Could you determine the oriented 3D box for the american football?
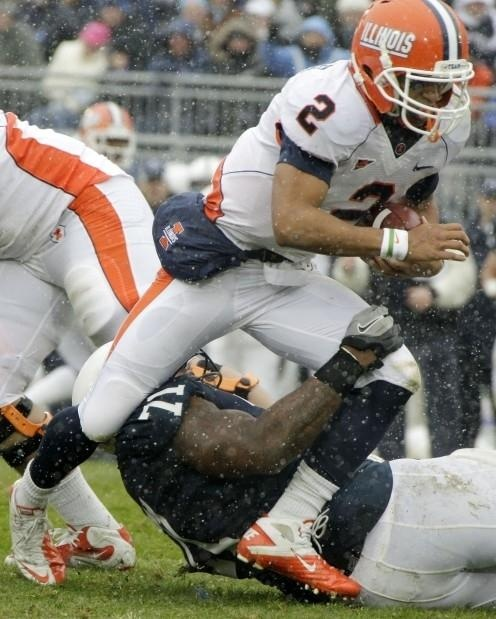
[{"bbox_3d":[0.423,-0.217,2.364,0.205,0.143,0.153,-21,85,7],"label":"american football"}]

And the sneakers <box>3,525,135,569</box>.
[{"bbox_3d":[-0.565,0.760,2.605,0.459,0.139,0.156,6,90,0],"label":"sneakers"}]

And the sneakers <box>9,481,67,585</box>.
[{"bbox_3d":[-0.634,0.667,2.381,0.131,0.142,0.349,-11,22,-33],"label":"sneakers"}]

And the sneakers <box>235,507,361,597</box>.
[{"bbox_3d":[0.144,0.608,1.986,0.308,0.117,0.157,18,54,12],"label":"sneakers"}]
